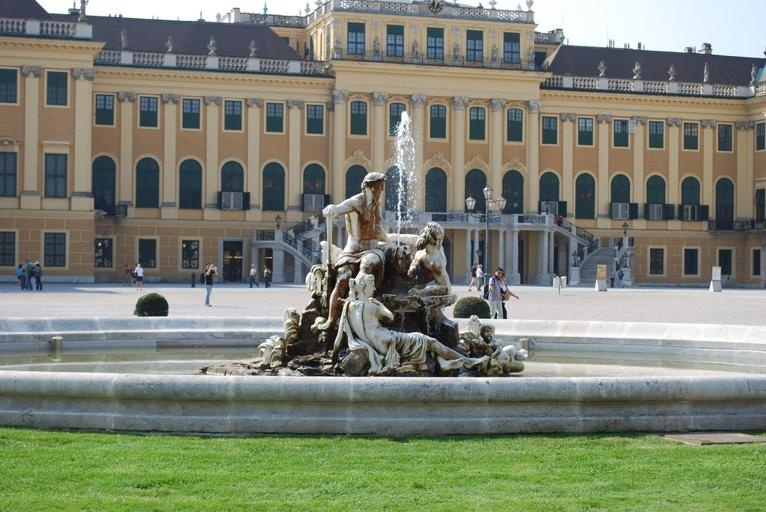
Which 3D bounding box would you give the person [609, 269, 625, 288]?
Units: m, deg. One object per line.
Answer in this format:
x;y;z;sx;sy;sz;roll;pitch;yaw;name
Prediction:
12.694;1.336;99.224;0.637;0.670;1.252;2;5;20;person

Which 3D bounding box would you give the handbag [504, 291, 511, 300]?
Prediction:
5.069;1.641;74.167;0.268;0.332;0.784;0;-2;1;handbag
